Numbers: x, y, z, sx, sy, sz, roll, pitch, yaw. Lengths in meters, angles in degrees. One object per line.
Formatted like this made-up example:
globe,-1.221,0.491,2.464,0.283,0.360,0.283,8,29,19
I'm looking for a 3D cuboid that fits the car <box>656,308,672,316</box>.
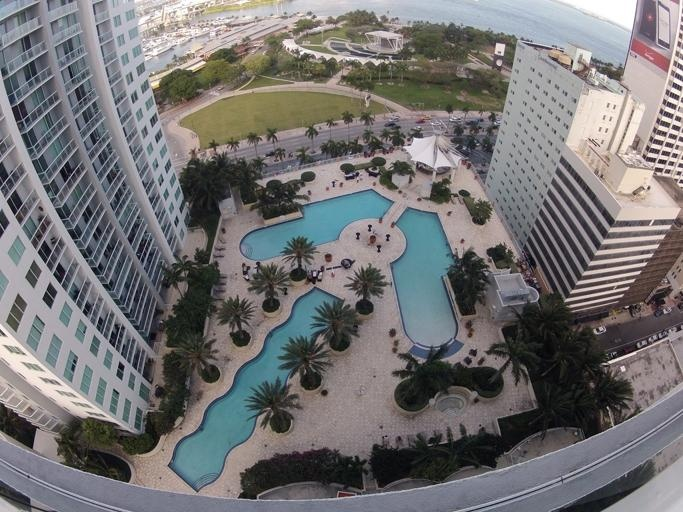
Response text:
car,67.189,11.460,93.903,2.795,0.786,1.779,-14,60,-19
